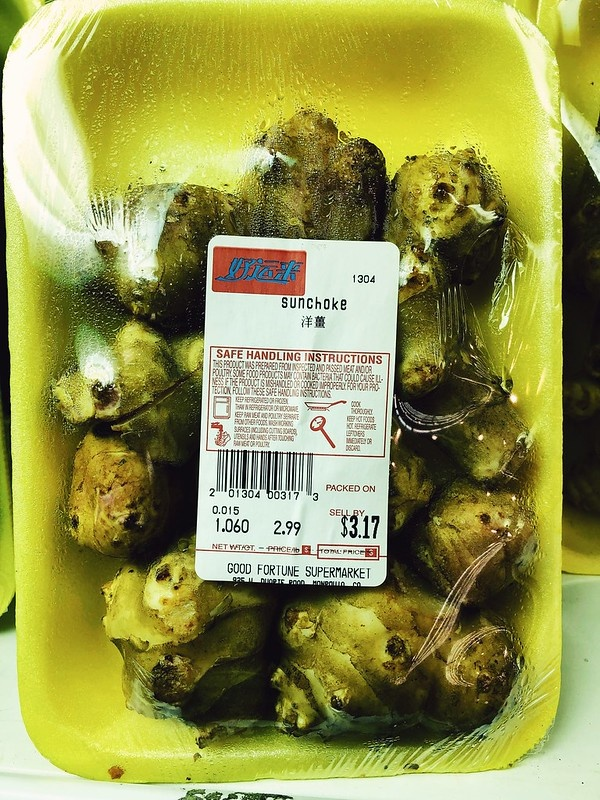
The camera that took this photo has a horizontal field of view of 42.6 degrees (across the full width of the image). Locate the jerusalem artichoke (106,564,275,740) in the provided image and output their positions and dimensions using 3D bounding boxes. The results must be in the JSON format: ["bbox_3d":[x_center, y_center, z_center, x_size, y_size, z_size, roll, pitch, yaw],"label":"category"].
[{"bbox_3d":[-0.077,0.166,0.582,0.115,0.060,0.120,20,106,0],"label":"jerusalem artichoke"}]

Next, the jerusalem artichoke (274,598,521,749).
[{"bbox_3d":[0.067,0.196,0.570,0.162,0.076,0.089,-4,91,1],"label":"jerusalem artichoke"}]
